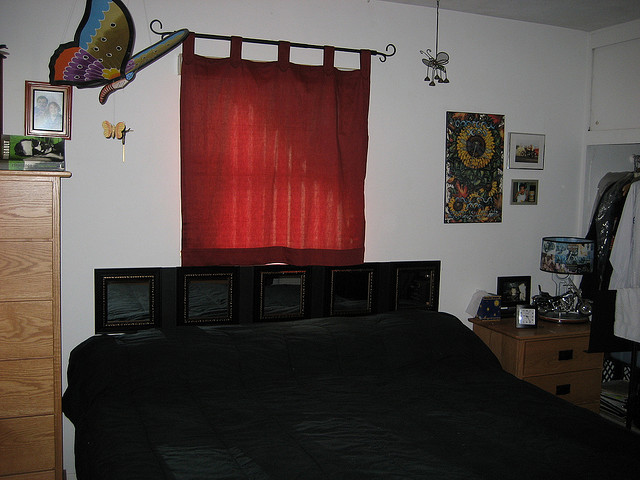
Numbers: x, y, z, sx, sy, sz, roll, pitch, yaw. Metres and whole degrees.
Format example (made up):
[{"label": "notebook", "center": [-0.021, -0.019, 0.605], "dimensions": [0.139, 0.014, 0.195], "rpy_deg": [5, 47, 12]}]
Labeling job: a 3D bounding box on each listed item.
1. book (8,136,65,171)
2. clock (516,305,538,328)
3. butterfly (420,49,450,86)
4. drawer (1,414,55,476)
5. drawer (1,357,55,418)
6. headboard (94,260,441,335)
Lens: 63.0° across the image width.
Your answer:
[{"label": "book", "center": [-1.557, -0.478, 2.881], "dimensions": [0.276, 0.204, 0.385], "rpy_deg": [0, 5, -29]}, {"label": "clock", "center": [1.455, 0.539, 3.688], "dimensions": [0.139, 0.167, 0.021], "rpy_deg": [1, -7, 4]}, {"label": "butterfly", "center": [0.828, -1.234, 3.739], "dimensions": [0.231, 0.262, 0.107], "rpy_deg": [-1, 5, -31]}, {"label": "drawer", "center": [-1.566, 1.074, 2.776], "dimensions": [0.330, 0.339, 0.175], "rpy_deg": [0, 1, -22]}, {"label": "drawer", "center": [-1.559, 0.768, 2.762], "dimensions": [0.308, 0.309, 0.166], "rpy_deg": [-1, -2, -21]}, {"label": "headboard", "center": [-0.534, 0.348, 3.453], "dimensions": [1.678, 0.362, 0.023], "rpy_deg": [-1, -1, -14]}]
